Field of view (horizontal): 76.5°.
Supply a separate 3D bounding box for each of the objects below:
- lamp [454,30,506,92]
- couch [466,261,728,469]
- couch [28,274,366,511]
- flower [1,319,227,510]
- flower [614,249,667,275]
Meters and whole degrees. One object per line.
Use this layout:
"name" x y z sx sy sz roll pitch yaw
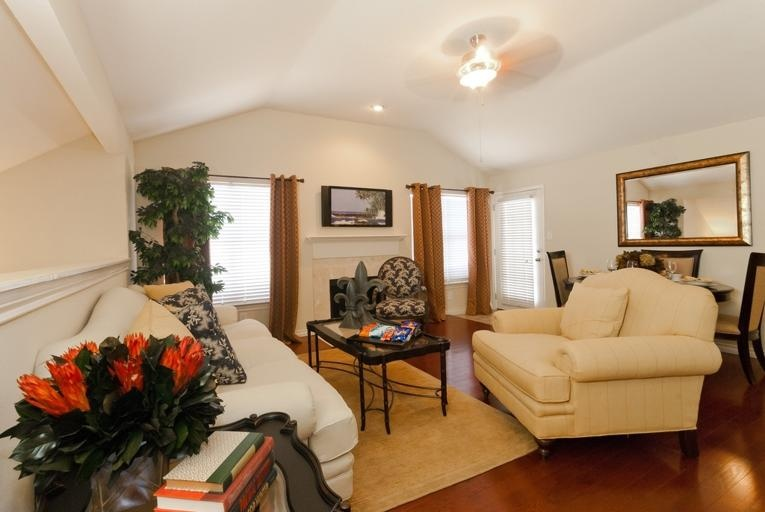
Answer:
"lamp" 0.903 -1.806 4.523 0.412 0.512 0.399 -4 8 -12
"couch" 1.553 0.713 3.869 1.411 1.324 1.745 0 -2 -9
"couch" -1.047 0.216 3.219 1.246 1.127 2.591 0 3 -22
"flower" -1.125 0.641 2.276 0.866 0.472 0.857 -4 0 32
"flower" 2.697 0.055 5.133 0.423 0.212 0.410 -31 12 -25
